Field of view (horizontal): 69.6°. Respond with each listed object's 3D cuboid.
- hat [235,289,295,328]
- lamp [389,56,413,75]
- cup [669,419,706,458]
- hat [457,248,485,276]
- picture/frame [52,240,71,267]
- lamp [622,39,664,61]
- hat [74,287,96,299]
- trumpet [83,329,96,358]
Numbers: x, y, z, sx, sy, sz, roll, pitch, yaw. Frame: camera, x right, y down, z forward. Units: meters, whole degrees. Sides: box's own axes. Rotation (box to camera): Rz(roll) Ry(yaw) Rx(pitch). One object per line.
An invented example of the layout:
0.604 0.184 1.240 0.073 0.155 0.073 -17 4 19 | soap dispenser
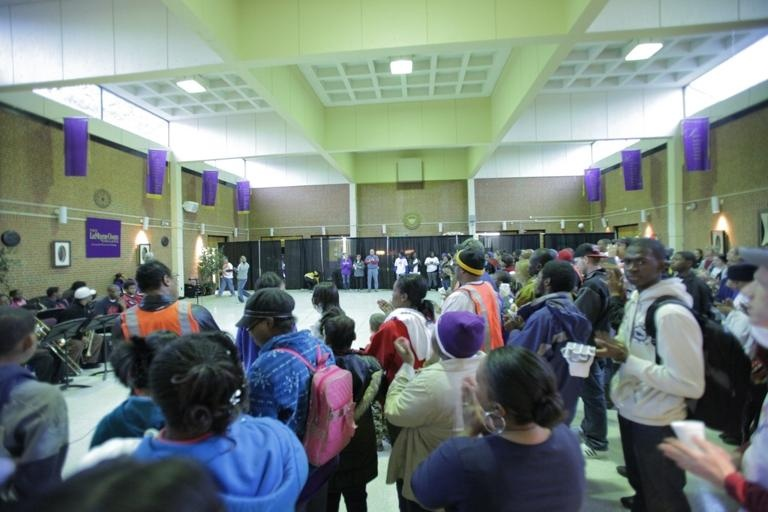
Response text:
-1.386 0.569 6.531 0.775 0.387 0.522 -5 6 -1 | hat
0.432 -4.728 13.481 0.472 0.426 1.042 -4 -1 7 | lamp
3.090 1.839 5.638 0.309 0.300 0.260 -2 -7 21 | cup
1.162 0.057 7.563 0.289 0.203 0.385 -8 22 -41 | hat
-8.411 -0.070 14.389 0.106 0.780 0.677 -4 -4 19 | picture/frame
6.323 -5.038 13.481 0.725 0.208 0.731 -4 -1 13 | lamp
-6.056 0.748 11.181 0.282 0.188 0.405 15 21 23 | hat
-5.574 1.634 10.530 0.179 0.578 0.247 8 -29 -34 | trumpet
